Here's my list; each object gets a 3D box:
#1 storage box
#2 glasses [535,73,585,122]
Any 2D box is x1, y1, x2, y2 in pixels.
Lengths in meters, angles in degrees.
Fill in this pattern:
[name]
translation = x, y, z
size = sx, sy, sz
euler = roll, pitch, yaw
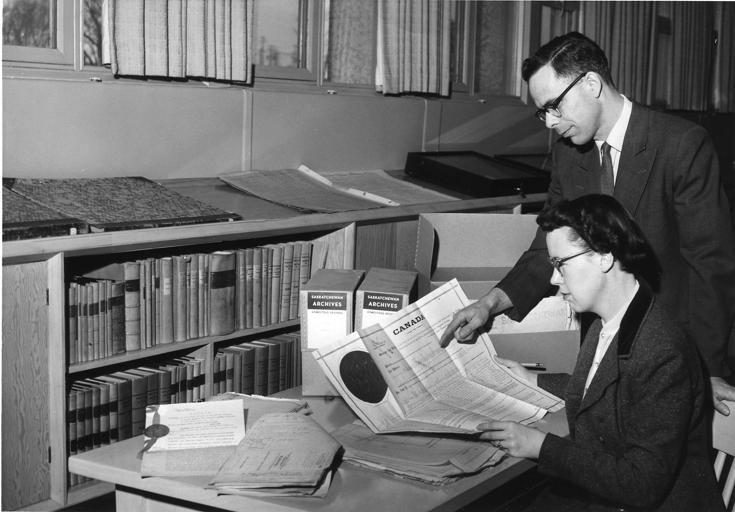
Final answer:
[storage box]
translation = 0.438, 0.053, 3.738
size = 0.828, 0.786, 0.770
euler = 1, 7, 11
[glasses]
translation = 0.720, -0.594, 3.411
size = 0.164, 0.049, 0.163
euler = -41, 1, -3
